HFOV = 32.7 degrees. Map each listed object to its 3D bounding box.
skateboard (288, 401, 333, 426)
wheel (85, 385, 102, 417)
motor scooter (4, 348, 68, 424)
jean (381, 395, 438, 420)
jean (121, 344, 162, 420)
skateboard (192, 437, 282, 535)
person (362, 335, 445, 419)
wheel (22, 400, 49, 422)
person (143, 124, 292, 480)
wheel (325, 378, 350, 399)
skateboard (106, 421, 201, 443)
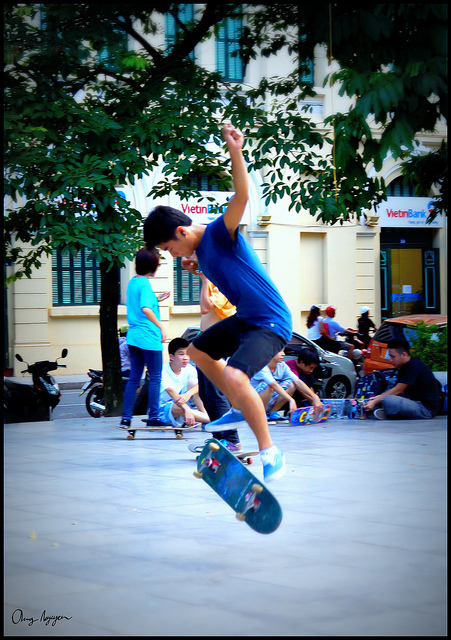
[{"bbox_3d":[1.008,1.055,8.789,0.327,0.205,0.832,-1,-1,36],"label":"skateboard"},{"bbox_3d":[-1.945,1.161,11.265,0.428,0.372,0.089,-8,-11,44],"label":"wheel"},{"bbox_3d":[-2.367,0.880,9.470,0.636,0.716,1.341,0,-1,-12],"label":"motor scooter"},{"bbox_3d":[2.089,0.986,8.772,0.609,0.280,0.218,0,-1,9],"label":"jean"},{"bbox_3d":[-0.768,0.589,7.323,0.294,0.720,0.470,1,-2,-43],"label":"jean"},{"bbox_3d":[0.021,0.759,3.655,0.096,0.194,0.706,16,-27,50],"label":"skateboard"},{"bbox_3d":[2.100,0.688,8.885,1.033,0.964,0.871,-2,-12,-1],"label":"person"},{"bbox_3d":[-2.312,1.092,9.368,0.280,0.088,0.269,-1,0,0],"label":"wheel"},{"bbox_3d":[0.032,-0.087,4.035,0.633,1.735,0.820,1,-1,-37],"label":"person"},{"bbox_3d":[1.732,1.053,12.073,0.390,0.330,0.131,1,-1,-28],"label":"wheel"},{"bbox_3d":[-0.699,1.072,7.494,1.192,0.167,0.299,1,-1,-7],"label":"skateboard"}]
